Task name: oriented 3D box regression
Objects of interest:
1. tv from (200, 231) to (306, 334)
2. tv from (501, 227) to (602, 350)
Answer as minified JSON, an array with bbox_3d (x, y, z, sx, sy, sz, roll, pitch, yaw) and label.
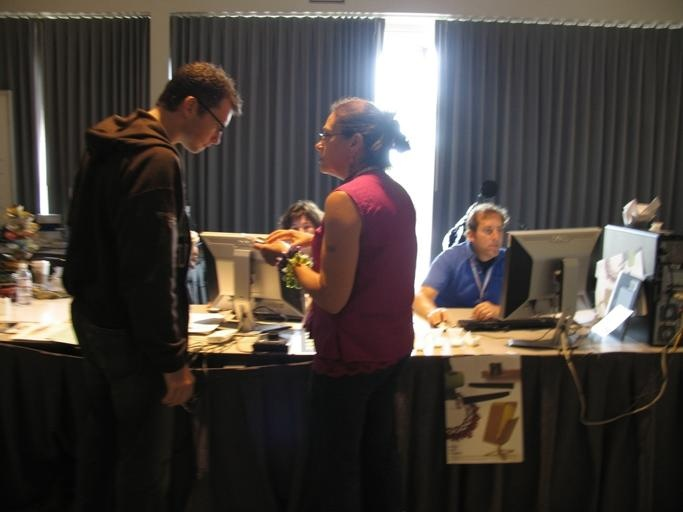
[{"bbox_3d":[-0.545,0.135,3.770,0.564,0.569,0.321,5,16,12],"label":"tv"},{"bbox_3d":[1.165,0.196,3.614,0.603,0.534,0.235,-2,11,-17],"label":"tv"}]
